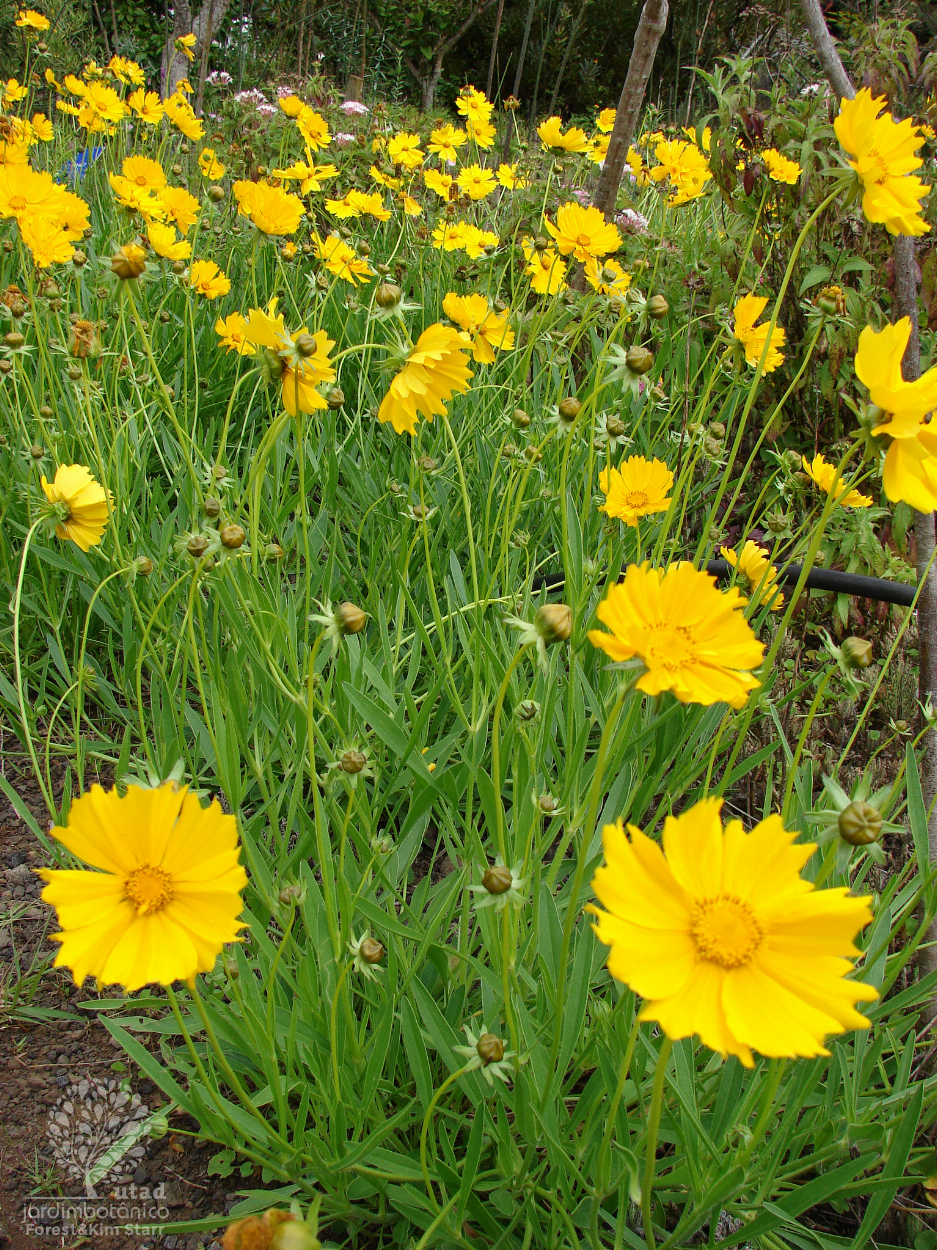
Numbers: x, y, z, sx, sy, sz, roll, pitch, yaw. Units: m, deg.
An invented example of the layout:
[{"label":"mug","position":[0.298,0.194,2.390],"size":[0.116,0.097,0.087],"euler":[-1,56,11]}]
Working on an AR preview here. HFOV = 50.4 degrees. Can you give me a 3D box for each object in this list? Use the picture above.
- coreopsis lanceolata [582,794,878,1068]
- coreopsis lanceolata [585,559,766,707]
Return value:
[{"label":"coreopsis lanceolata","position":[0.131,0.147,0.505],"size":[0.135,0.052,0.143],"euler":[-26,31,-37]},{"label":"coreopsis lanceolata","position":[0.126,0.032,0.621],"size":[0.090,0.036,0.102],"euler":[34,51,-13]}]
